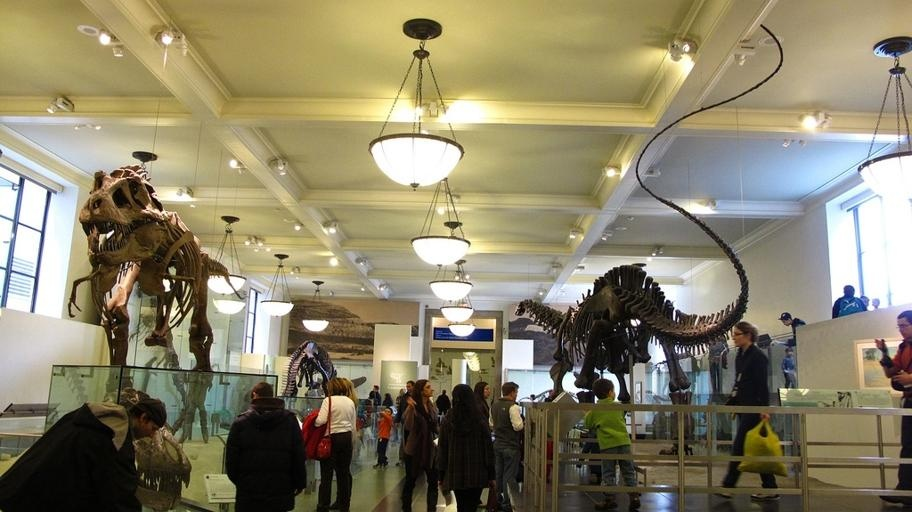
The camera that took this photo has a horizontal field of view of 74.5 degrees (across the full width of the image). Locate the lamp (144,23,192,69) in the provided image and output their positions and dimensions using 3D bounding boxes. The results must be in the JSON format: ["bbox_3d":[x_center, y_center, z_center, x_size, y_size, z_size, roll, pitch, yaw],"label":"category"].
[{"bbox_3d":[-4.354,-3.247,9.049,0.439,0.175,0.574,0,1,-41],"label":"lamp"}]

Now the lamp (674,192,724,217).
[{"bbox_3d":[5.325,-1.170,13.108,0.862,0.165,0.718,1,-12,10],"label":"lamp"}]

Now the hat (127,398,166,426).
[{"bbox_3d":[-3.189,1.646,6.269,0.375,0.219,0.284,12,-8,29],"label":"hat"}]

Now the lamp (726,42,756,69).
[{"bbox_3d":[4.162,-2.975,8.772,0.437,0.129,0.369,5,-12,-18],"label":"lamp"}]

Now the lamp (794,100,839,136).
[{"bbox_3d":[6.172,-2.356,10.302,0.469,0.214,0.564,5,-51,13],"label":"lamp"}]

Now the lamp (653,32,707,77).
[{"bbox_3d":[3.413,-3.080,9.005,0.479,0.535,0.596,22,27,3],"label":"lamp"}]

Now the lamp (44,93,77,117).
[{"bbox_3d":[-6.926,-2.649,10.511,0.386,0.227,0.411,-2,6,45],"label":"lamp"}]

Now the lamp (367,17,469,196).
[{"bbox_3d":[-0.572,-2.159,9.350,1.322,2.348,1.902,0,-16,-1],"label":"lamp"}]
